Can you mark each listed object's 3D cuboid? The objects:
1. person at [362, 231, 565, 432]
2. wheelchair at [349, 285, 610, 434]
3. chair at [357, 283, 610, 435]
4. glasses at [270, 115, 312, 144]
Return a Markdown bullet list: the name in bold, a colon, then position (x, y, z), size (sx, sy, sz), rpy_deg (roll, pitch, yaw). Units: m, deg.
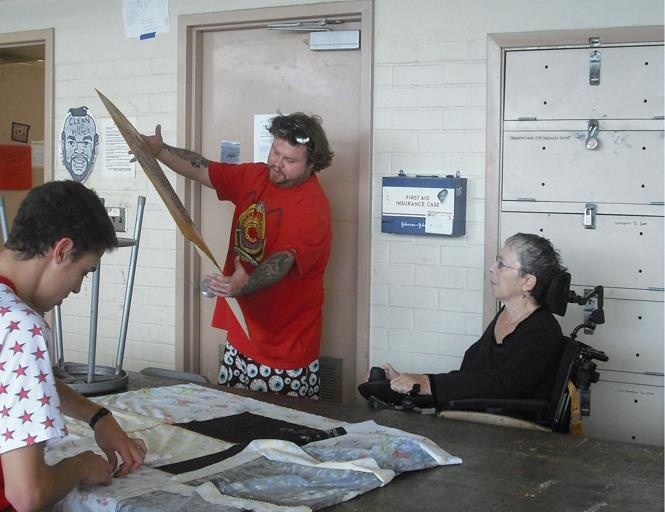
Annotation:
- **person**: position (0.592, 0.314, 2.271), size (0.727, 0.807, 0.584), rpy_deg (5, -3, 2)
- **wheelchair**: position (0.628, 0.471, 2.393), size (0.910, 0.915, 0.528), rpy_deg (5, -8, 4)
- **chair**: position (0.622, 0.436, 2.332), size (0.833, 0.887, 0.566), rpy_deg (5, -7, 3)
- **glasses**: position (-0.197, -0.557, 2.392), size (0.094, 0.142, 0.198), rpy_deg (-1, 5, -45)
